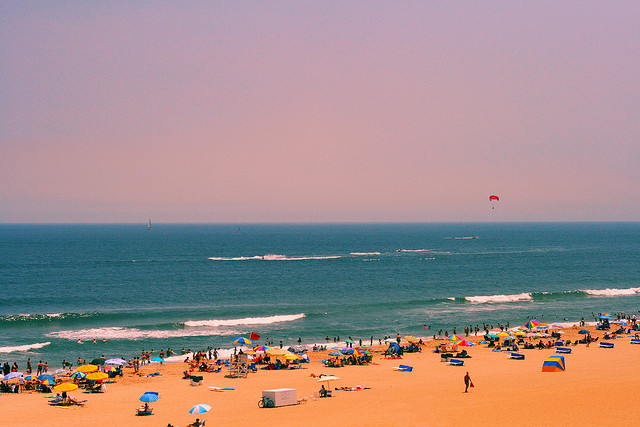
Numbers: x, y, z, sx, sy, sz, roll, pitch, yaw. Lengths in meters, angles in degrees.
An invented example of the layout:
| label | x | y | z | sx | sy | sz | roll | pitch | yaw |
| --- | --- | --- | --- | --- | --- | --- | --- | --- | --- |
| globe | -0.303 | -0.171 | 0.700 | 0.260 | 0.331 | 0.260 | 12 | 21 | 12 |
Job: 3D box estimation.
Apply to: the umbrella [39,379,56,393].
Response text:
| label | x | y | z | sx | sy | sz | roll | pitch | yaw |
| --- | --- | --- | --- | --- | --- | --- | --- | --- | --- |
| umbrella | -30.686 | 19.404 | 101.588 | 1.717 | 1.047 | 1.500 | 5 | 4 | -24 |

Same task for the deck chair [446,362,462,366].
| label | x | y | z | sx | sy | sz | roll | pitch | yaw |
| --- | --- | --- | --- | --- | --- | --- | --- | --- | --- |
| deck chair | 16.376 | 18.367 | 110.351 | 1.699 | 0.416 | 0.535 | -6 | -9 | 19 |

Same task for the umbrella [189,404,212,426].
| label | x | y | z | sx | sy | sz | roll | pitch | yaw |
| --- | --- | --- | --- | --- | --- | --- | --- | --- | --- |
| umbrella | -12.695 | 20.876 | 96.292 | 1.579 | 1.038 | 1.456 | -20 | -13 | 16 |

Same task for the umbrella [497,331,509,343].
| label | x | y | z | sx | sy | sz | roll | pitch | yaw |
| --- | --- | --- | --- | --- | --- | --- | --- | --- | --- |
| umbrella | 24.115 | 16.259 | 118.754 | 1.893 | 1.129 | 1.534 | -2 | -6 | 4 |

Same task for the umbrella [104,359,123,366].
| label | x | y | z | sx | sy | sz | roll | pitch | yaw |
| --- | --- | --- | --- | --- | --- | --- | --- | --- | --- |
| umbrella | -24.595 | 17.766 | 107.825 | 1.996 | 0.570 | 1.664 | 4 | -3 | -10 |

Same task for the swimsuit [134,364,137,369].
| label | x | y | z | sx | sy | sz | roll | pitch | yaw |
| --- | --- | --- | --- | --- | --- | --- | --- | --- | --- |
| swimsuit | -22.412 | 18.546 | 109.650 | 0.256 | 0.517 | 0.956 | -1 | -9 | -22 |

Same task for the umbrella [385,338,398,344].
| label | x | y | z | sx | sy | sz | roll | pitch | yaw |
| --- | --- | --- | --- | --- | --- | --- | --- | --- | --- |
| umbrella | 9.581 | 17.056 | 122.002 | 1.592 | 0.489 | 3.275 | -4 | -8 | 3 |

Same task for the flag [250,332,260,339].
| label | x | y | z | sx | sy | sz | roll | pitch | yaw |
| --- | --- | --- | --- | --- | --- | --- | --- | --- | --- |
| flag | -8.139 | 15.193 | 111.855 | 1.157 | 0.298 | 0.997 | -4 | 8 | 11 |

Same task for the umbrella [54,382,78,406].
| label | x | y | z | sx | sy | sz | roll | pitch | yaw |
| --- | --- | --- | --- | --- | --- | --- | --- | --- | --- |
| umbrella | -27.972 | 19.852 | 99.542 | 2.423 | 2.470 | 3.087 | -2 | -9 | -14 |

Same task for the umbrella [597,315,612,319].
| label | x | y | z | sx | sy | sz | roll | pitch | yaw |
| --- | --- | --- | --- | --- | --- | --- | --- | --- | --- |
| umbrella | 39.905 | 14.489 | 126.335 | 1.473 | 0.457 | 3.018 | -7 | -9 | 23 |

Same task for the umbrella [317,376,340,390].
| label | x | y | z | sx | sy | sz | roll | pitch | yaw |
| --- | --- | --- | --- | --- | --- | --- | --- | --- | --- |
| umbrella | 0.948 | 19.263 | 103.748 | 2.424 | 1.136 | 2.812 | -3 | -8 | -2 |

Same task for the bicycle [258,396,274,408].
| label | x | y | z | sx | sy | sz | roll | pitch | yaw |
| --- | --- | --- | --- | --- | --- | --- | --- | --- | --- |
| bicycle | -6.044 | 20.670 | 99.209 | 1.787 | 1.222 | 0.616 | -9 | -11 | 28 |

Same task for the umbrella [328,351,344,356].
| label | x | y | z | sx | sy | sz | roll | pitch | yaw |
| --- | --- | --- | --- | --- | --- | --- | --- | --- | --- |
| umbrella | 1.928 | 17.311 | 111.888 | 1.599 | 0.526 | 0.649 | -1 | -9 | -12 |

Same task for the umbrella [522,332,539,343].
| label | x | y | z | sx | sy | sz | roll | pitch | yaw |
| --- | --- | --- | --- | --- | --- | --- | --- | --- | --- |
| umbrella | 27.796 | 16.395 | 119.326 | 1.878 | 1.370 | 1.615 | -1 | -5 | 11 |

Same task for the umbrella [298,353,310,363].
| label | x | y | z | sx | sy | sz | roll | pitch | yaw |
| --- | --- | --- | --- | --- | --- | --- | --- | --- | --- |
| umbrella | -1.984 | 17.724 | 111.235 | 1.305 | 1.142 | 3.593 | -4 | -8 | -2 |

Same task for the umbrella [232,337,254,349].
| label | x | y | z | sx | sy | sz | roll | pitch | yaw |
| --- | --- | --- | --- | --- | --- | --- | --- | --- | --- |
| umbrella | -9.862 | 16.487 | 113.679 | 2.526 | 1.053 | 2.107 | 1 | -7 | -4 |

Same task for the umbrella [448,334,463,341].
| label | x | y | z | sx | sy | sz | roll | pitch | yaw |
| --- | --- | --- | --- | --- | --- | --- | --- | --- | --- |
| umbrella | 17.601 | 16.136 | 117.394 | 1.805 | 0.735 | 2.001 | -4 | -8 | 4 |

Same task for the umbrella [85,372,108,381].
| label | x | y | z | sx | sy | sz | roll | pitch | yaw |
| --- | --- | --- | --- | --- | --- | --- | --- | --- | --- |
| umbrella | -25.271 | 18.369 | 102.040 | 2.321 | 0.809 | 2.137 | 1 | -9 | -24 |
